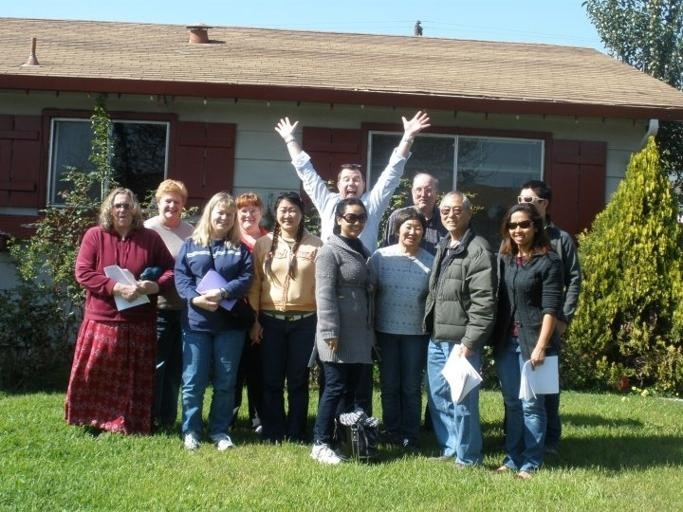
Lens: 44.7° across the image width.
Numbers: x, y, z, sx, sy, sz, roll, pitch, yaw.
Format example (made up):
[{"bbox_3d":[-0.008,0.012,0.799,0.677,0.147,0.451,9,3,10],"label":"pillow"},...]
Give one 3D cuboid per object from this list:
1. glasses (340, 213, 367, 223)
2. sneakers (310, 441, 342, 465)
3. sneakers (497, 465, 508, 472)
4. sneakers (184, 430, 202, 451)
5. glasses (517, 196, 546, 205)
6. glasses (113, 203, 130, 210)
[{"bbox_3d":[0.125,-0.373,8.135,0.238,0.101,0.063,1,8,-3],"label":"glasses"},{"bbox_3d":[-0.154,1.901,7.958,0.319,0.156,0.140,-1,-3,28],"label":"sneakers"},{"bbox_3d":[1.537,2.017,7.889,0.041,0.054,0.117,-9,-22,24],"label":"sneakers"},{"bbox_3d":[-1.469,1.811,8.185,0.156,0.107,0.194,0,9,-12],"label":"sneakers"},{"bbox_3d":[1.970,-0.581,8.534,0.271,0.072,0.188,4,9,12],"label":"glasses"},{"bbox_3d":[-2.245,-0.512,8.477,0.149,0.060,0.051,0,8,-12],"label":"glasses"}]
